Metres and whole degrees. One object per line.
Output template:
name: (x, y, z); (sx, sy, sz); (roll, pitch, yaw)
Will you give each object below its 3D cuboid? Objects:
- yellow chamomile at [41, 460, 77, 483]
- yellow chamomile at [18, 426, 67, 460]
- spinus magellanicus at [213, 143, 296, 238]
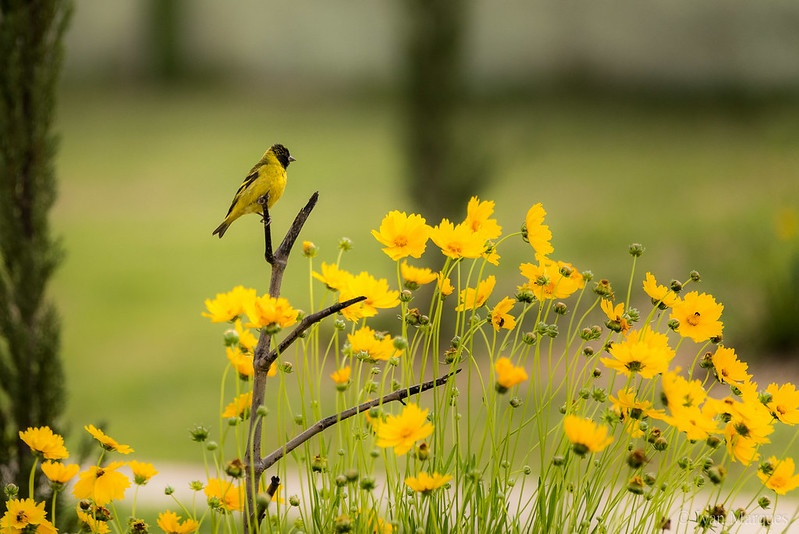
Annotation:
yellow chamomile: (-0.764, 0.469, 2.634); (0.051, 0.031, 0.067); (-4, -45, 9)
yellow chamomile: (-0.800, 0.392, 2.609); (0.101, 0.053, 0.110); (19, 4, 24)
spinus magellanicus: (-0.374, -0.204, 3.030); (0.188, 0.220, 0.100); (-5, -23, 20)
